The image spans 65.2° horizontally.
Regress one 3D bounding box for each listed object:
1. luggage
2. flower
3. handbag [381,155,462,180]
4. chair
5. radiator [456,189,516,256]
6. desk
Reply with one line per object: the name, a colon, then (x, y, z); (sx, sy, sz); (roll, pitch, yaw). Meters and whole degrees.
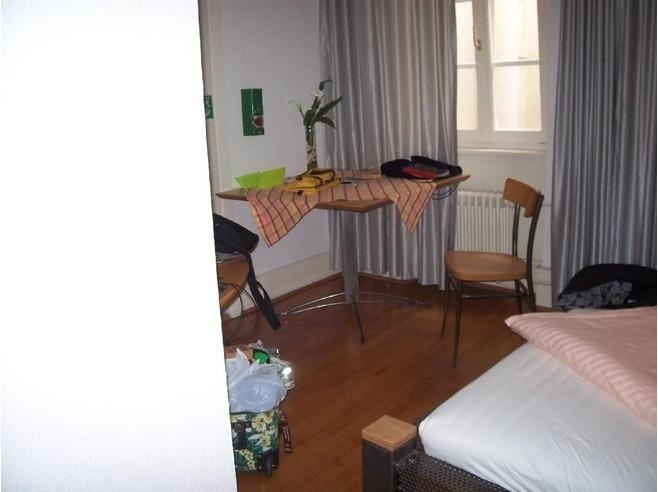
luggage: (-0.308, 0.671, 2.094); (0.196, 0.467, 0.242); (-8, 14, -10)
flower: (-0.061, -0.982, 3.692); (0.361, 0.442, 0.673); (-7, 14, -2)
handbag: (0.595, -0.498, 3.291); (0.286, 0.092, 0.293); (9, 17, 38)
chair: (0.944, 0.151, 3.018); (0.561, 0.960, 0.570); (-4, 13, -4)
radiator: (1.146, -0.179, 3.682); (0.405, 0.435, 0.073); (9, 15, 38)
desk: (0.122, -0.006, 3.294); (1.170, 0.792, 1.147); (26, 34, 36)
